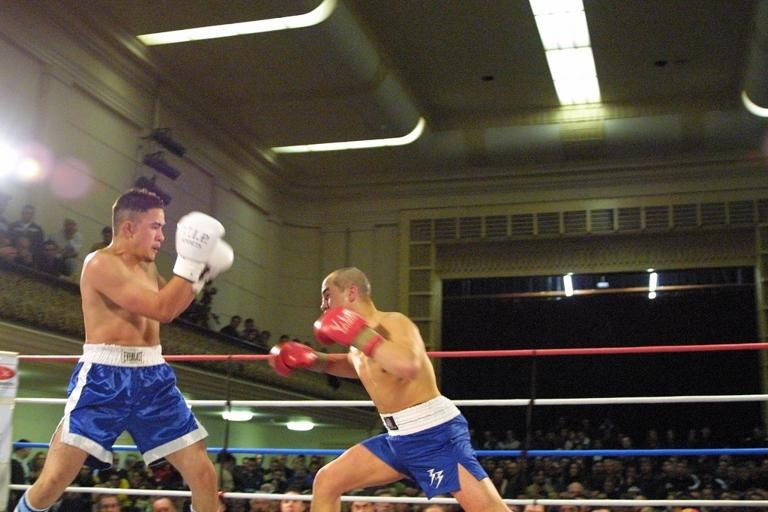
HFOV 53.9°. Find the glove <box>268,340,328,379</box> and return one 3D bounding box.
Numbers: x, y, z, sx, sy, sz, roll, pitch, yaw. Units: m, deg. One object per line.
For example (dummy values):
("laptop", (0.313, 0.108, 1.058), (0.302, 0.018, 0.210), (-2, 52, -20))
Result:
("glove", (-0.559, 0.694, 5.058), (0.222, 0.122, 0.307), (1, -10, 41))

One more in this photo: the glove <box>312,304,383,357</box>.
("glove", (-0.212, 0.486, 4.657), (0.402, 0.256, 0.153), (18, -46, 6))
